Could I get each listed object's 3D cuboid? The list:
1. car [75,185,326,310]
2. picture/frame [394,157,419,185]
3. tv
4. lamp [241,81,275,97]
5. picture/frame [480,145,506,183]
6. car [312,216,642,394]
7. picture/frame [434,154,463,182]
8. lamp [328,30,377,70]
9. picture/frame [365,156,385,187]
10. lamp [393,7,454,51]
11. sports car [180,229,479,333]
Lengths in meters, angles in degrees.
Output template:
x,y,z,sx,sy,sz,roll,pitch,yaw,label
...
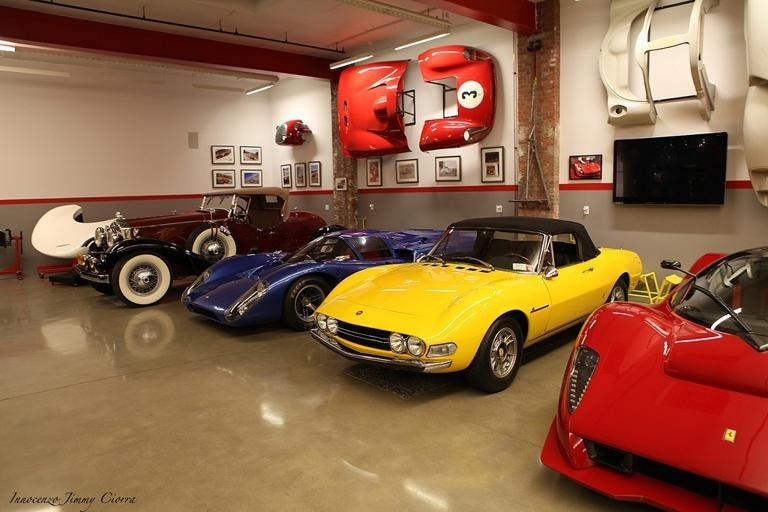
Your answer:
x,y,z,sx,sy,sz,roll,pitch,yaw,label
-3.236,-0.196,7.708,4.521,1.374,1.769,-6,3,-40,car
0.536,-1.889,9.602,0.731,0.545,0.061,3,7,44,picture/frame
4.207,-1.270,6.220,1.352,0.806,0.105,4,10,40,tv
-3.471,-4.666,11.974,0.799,0.307,2.377,-5,13,-15,lamp
2.077,-1.731,8.195,0.025,0.637,0.521,-19,20,-36,picture/frame
1.143,0.209,4.294,3.185,0.896,1.474,-5,3,-38,car
1.362,-1.801,8.859,0.728,0.537,0.073,-1,0,38,picture/frame
-0.741,-4.487,9.716,0.942,0.509,2.228,-3,12,-6,lamp
-0.211,-1.978,10.307,0.115,0.672,0.557,-15,19,-39,picture/frame
0.799,-4.307,8.097,0.937,0.668,2.136,0,13,8,lamp
-0.769,0.002,5.552,2.841,0.639,1.497,-7,2,-39,sports car
